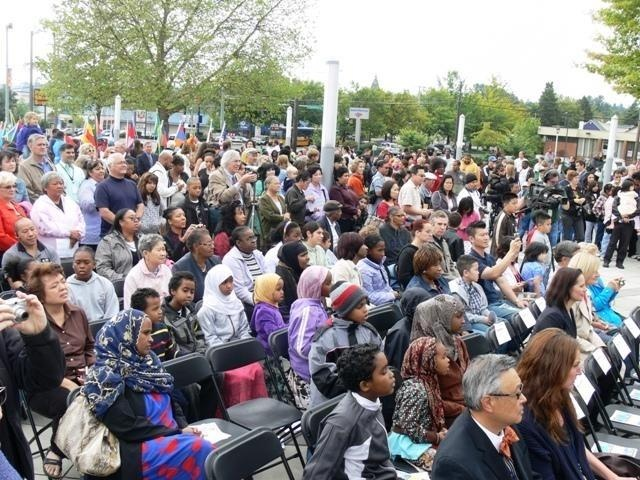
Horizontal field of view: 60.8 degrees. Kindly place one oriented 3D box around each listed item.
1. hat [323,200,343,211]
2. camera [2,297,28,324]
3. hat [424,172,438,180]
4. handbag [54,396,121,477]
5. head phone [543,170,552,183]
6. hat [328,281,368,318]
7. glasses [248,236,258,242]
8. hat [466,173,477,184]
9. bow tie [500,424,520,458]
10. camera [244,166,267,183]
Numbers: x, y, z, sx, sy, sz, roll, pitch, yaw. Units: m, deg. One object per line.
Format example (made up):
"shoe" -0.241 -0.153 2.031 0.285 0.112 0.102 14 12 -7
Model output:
"hat" 0.225 -0.590 9.345 0.255 0.104 0.269 -1 -1 -15
"camera" -1.768 0.397 3.175 0.105 0.143 0.199 2 3 16
"hat" 2.313 -1.359 11.663 0.237 0.123 0.351 -3 6 -10
"handbag" -1.759 1.511 4.120 0.486 0.620 0.249 6 9 28
"head phone" 5.132 -1.419 12.196 0.178 0.256 0.218 7 5 -15
"hat" 0.250 0.547 4.997 0.389 0.360 0.321 -5 10 20
"glasses" -0.924 -0.012 7.305 0.090 0.048 0.094 -4 -3 -45
"hat" 3.172 -1.292 11.498 0.186 0.157 0.191 2 16 46
"bow tie" 1.284 1.391 3.709 0.167 0.064 0.175 -20 32 51
"camera" -1.311 -1.417 11.593 0.263 0.302 0.501 -34 10 -31
